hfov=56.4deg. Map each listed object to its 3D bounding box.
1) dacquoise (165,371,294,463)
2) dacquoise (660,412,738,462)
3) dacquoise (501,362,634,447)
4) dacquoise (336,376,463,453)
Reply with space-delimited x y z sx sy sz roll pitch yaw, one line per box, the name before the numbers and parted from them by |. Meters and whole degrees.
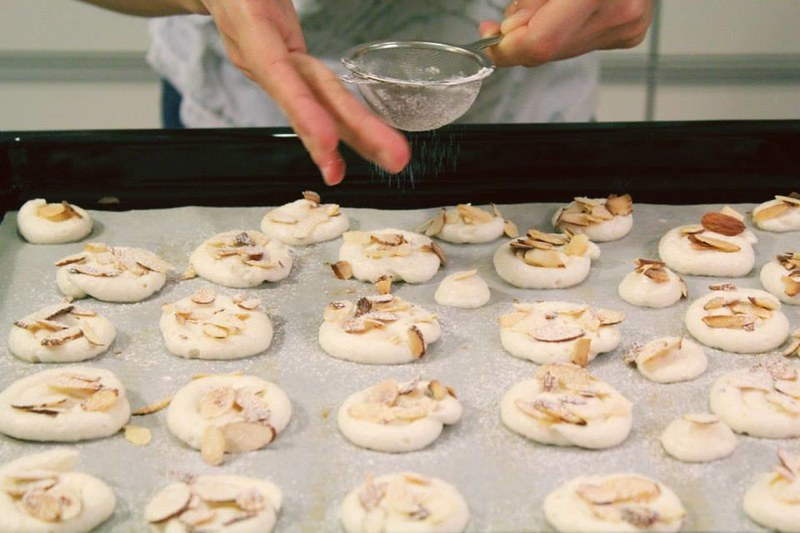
dacquoise | -0.445 0.371 1.944 0.288 0.072 0.300 -24 41 -24
dacquoise | 0.737 0.430 1.854 0.165 0.063 0.116 8 40 16
dacquoise | 0.430 0.357 1.937 0.312 0.101 0.221 4 39 11
dacquoise | 0.004 0.379 1.933 0.308 0.076 0.219 -21 40 -21
